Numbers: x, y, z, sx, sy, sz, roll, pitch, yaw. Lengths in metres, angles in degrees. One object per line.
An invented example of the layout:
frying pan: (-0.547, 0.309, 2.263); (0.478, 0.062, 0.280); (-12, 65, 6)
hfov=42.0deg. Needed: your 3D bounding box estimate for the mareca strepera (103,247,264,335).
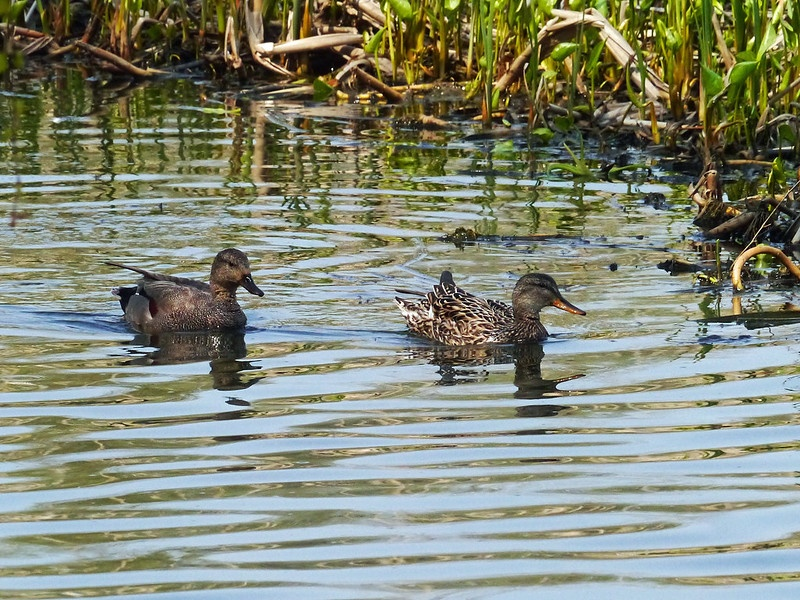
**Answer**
mareca strepera: (-1.799, -0.037, 8.677); (1.504, 0.649, 0.747); (11, 22, 29)
